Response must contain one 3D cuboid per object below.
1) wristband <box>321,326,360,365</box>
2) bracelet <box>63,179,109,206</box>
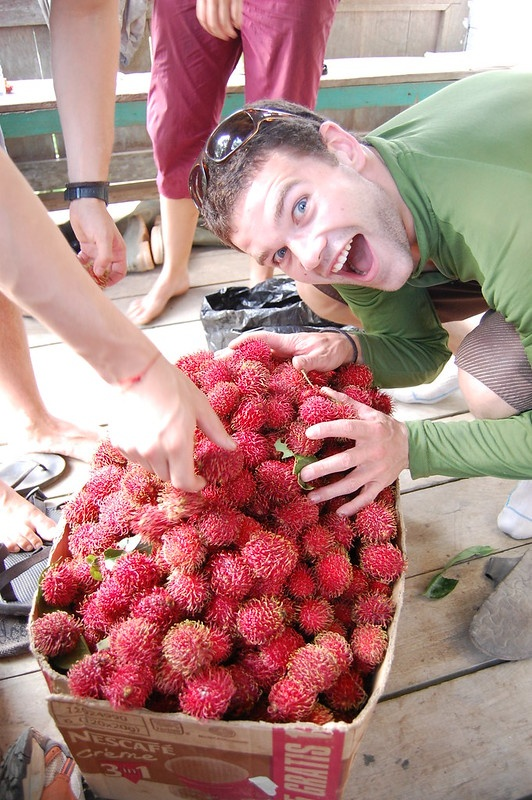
[{"bbox_3d":[0.160,-0.115,1.236,0.029,0.098,0.101,-38,25,-22],"label":"wristband"},{"bbox_3d":[-0.410,-0.472,1.331,0.096,0.077,0.088,-10,37,-15],"label":"bracelet"}]
